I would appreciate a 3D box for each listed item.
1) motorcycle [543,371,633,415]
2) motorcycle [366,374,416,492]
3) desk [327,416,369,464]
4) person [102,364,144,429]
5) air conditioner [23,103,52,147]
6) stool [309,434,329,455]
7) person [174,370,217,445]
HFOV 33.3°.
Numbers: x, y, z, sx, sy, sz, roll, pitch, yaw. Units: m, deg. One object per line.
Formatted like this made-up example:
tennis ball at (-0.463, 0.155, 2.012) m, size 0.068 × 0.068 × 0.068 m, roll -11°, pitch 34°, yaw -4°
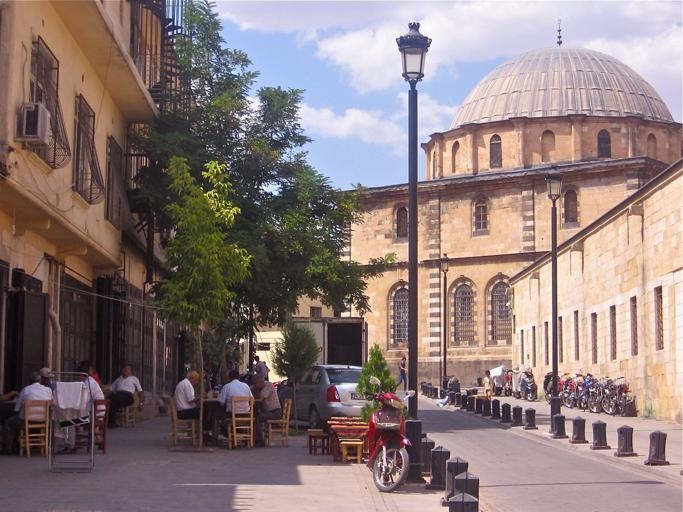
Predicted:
motorcycle at (9.242, 5.075, 41.136) m, size 1.417 × 1.678 × 3.332 m, roll 3°, pitch -5°, yaw -19°
motorcycle at (0.942, 3.611, 23.171) m, size 0.897 × 2.440 × 1.787 m, roll 0°, pitch -14°, yaw 1°
desk at (0.143, 4.248, 26.349) m, size 0.878 × 1.172 × 1.364 m, roll 0°, pitch -15°, yaw 0°
person at (-6.323, 3.987, 32.804) m, size 0.632 × 1.976 × 1.034 m, roll 0°, pitch -4°, yaw 2°
air conditioner at (-6.984, -2.966, 26.031) m, size 0.493 × 1.106 × 1.053 m, roll -1°, pitch -7°, yaw 1°
stool at (-0.579, 4.568, 27.463) m, size 0.501 × 0.646 × 0.546 m, roll 0°, pitch -4°, yaw 6°
person at (-3.623, 3.673, 28.332) m, size 0.929 × 1.990 × 0.907 m, roll 2°, pitch -2°, yaw -34°
